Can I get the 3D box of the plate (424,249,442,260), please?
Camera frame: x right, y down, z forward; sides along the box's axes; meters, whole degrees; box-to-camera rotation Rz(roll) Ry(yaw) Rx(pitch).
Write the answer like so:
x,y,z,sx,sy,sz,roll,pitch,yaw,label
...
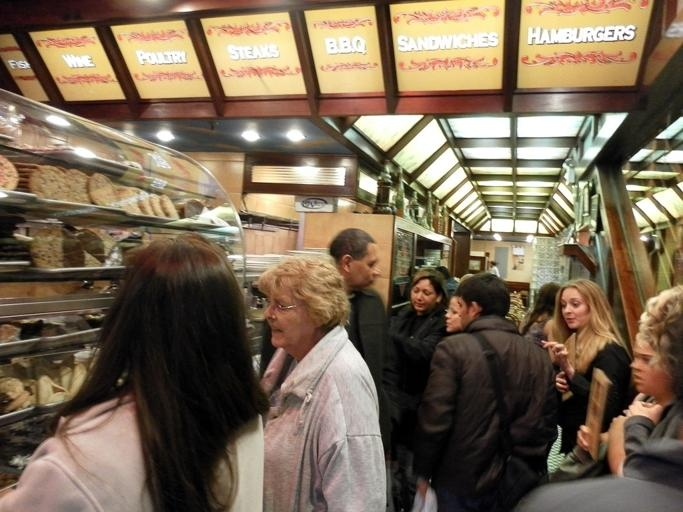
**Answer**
x,y,z,sx,sy,sz,roll,pitch,yaw,label
1.567,-0.042,7.506,0.083,0.200,0.362,9,4,44,plate
